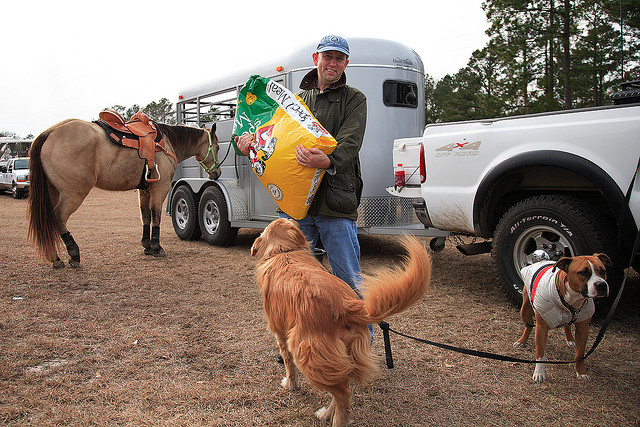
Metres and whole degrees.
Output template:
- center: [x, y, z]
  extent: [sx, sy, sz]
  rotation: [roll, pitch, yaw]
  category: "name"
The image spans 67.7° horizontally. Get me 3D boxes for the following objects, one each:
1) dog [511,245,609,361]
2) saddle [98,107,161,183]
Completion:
- center: [2.665, 1.072, 5.332]
  extent: [0.825, 1.351, 0.678]
  rotation: [7, 15, 25]
  category: "dog"
- center: [-3.692, -1.413, 9.684]
  extent: [0.683, 1.340, 2.233]
  rotation: [3, 4, 20]
  category: "saddle"
